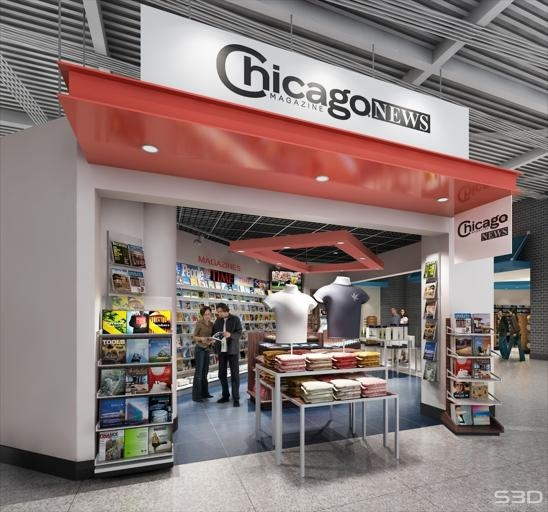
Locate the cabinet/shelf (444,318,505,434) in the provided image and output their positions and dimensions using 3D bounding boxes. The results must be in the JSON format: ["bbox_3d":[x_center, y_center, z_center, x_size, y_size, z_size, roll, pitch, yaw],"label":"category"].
[{"bbox_3d":[2.555,1.498,5.529,0.662,1.338,0.573,2,-4,8],"label":"cabinet/shelf"}]

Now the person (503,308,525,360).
[{"bbox_3d":[7.257,2.426,12.993,0.492,1.479,2.746,-2,-3,30],"label":"person"}]

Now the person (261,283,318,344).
[{"bbox_3d":[0.210,0.733,5.464,0.816,0.711,0.303,6,-7,-34],"label":"person"}]
